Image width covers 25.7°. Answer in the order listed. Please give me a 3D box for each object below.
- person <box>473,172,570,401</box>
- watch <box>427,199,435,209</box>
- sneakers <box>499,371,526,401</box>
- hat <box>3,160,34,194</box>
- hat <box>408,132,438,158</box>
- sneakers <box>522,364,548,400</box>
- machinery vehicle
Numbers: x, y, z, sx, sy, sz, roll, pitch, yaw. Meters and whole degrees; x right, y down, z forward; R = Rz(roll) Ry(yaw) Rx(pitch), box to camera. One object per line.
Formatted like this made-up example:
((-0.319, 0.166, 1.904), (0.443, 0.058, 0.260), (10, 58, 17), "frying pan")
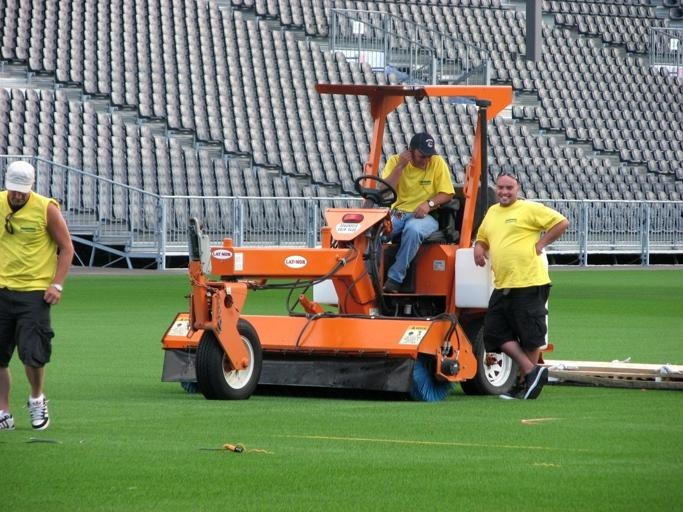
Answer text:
((2.091, 0.359, 17.509), (0.906, 2.578, 0.547), (2, 8, 8), "person")
((1.073, -0.629, 18.153), (0.070, 0.116, 0.106), (0, 1, 4), "watch")
((2.042, 1.583, 17.699), (0.404, 0.288, 0.156), (7, -7, -42), "sneakers")
((-3.426, -0.859, 15.858), (0.253, 0.194, 0.382), (8, 21, -17), "hat")
((0.963, -1.359, 18.209), (0.225, 0.171, 0.328), (-10, 27, -35), "hat")
((2.247, 1.479, 17.425), (0.221, 0.519, 0.177), (8, 40, -1), "sneakers")
((0.096, -0.136, 18.142), (3.519, 3.645, 4.772), (2, 5, 44), "machinery vehicle")
